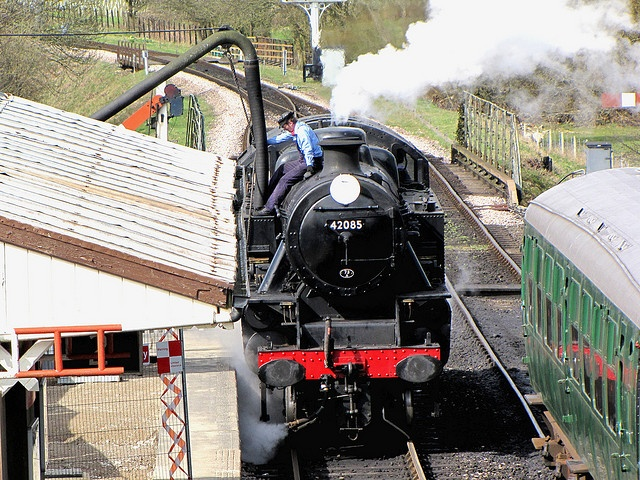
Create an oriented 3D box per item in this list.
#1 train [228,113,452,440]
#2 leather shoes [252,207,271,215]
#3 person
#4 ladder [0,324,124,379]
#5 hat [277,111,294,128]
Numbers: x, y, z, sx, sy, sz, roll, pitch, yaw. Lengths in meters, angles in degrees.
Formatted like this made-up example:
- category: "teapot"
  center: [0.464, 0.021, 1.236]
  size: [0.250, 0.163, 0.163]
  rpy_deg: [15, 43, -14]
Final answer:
- category: "train"
  center: [0.304, 0.449, 14.224]
  size: [3.230, 4.892, 2.899]
  rpy_deg: [-2, 9, -3]
- category: "leather shoes"
  center: [-0.918, -0.466, 14.274]
  size: [0.309, 0.146, 0.116]
  rpy_deg: [4, 1, 15]
- category: "person"
  center: [-0.553, -1.256, 14.355]
  size: [1.276, 1.517, 0.989]
  rpy_deg: [-7, 15, 5]
- category: "ladder"
  center: [-2.991, 1.306, 10.425]
  size: [1.423, 0.640, 0.434]
  rpy_deg: [-1, 9, 8]
- category: "hat"
  center: [-0.543, -1.954, 14.508]
  size: [0.252, 0.252, 0.205]
  rpy_deg: [7, 6, 24]
